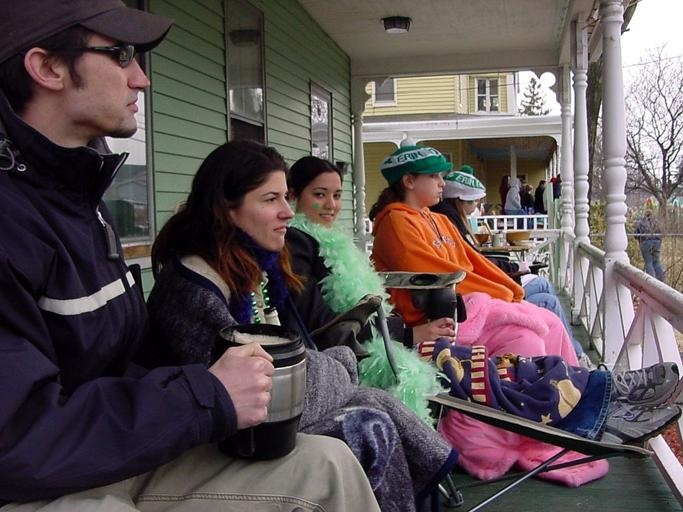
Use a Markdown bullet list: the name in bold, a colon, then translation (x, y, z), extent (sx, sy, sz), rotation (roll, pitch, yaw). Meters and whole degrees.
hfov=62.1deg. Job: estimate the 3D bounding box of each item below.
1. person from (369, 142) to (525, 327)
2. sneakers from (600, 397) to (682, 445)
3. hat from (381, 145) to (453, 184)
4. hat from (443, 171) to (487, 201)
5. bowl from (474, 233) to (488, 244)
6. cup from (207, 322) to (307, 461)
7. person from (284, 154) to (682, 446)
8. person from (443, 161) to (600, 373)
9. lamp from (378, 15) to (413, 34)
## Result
- **person**: translation (0.749, -0.164, 3.905), extent (1.133, 1.177, 0.730), rotation (4, 8, 21)
- **sneakers**: translation (1.426, 0.802, 2.815), extent (0.473, 0.174, 0.238), rotation (-9, -19, 32)
- **hat**: translation (0.515, -0.625, 3.936), extent (0.380, 0.201, 0.284), rotation (-22, 8, 16)
- **hat**: translation (1.064, -0.606, 4.883), extent (0.313, 0.168, 0.244), rotation (-4, 22, 1)
- **bowl**: translation (1.835, -0.231, 7.417), extent (0.261, 0.119, 0.267), rotation (0, -3, 0)
- **cup**: translation (-0.169, 0.359, 1.645), extent (0.255, 0.313, 0.352), rotation (5, 12, 13)
- **person**: translation (0.654, 0.250, 3.121), extent (1.938, 1.274, 1.087), rotation (5, 6, 27)
- **person**: translation (1.478, 0.224, 4.879), extent (1.553, 1.985, 0.925), rotation (1, 8, 17)
- **lamp**: translation (0.714, -3.165, 7.661), extent (0.406, 0.251, 0.235), rotation (1, 3, 21)
